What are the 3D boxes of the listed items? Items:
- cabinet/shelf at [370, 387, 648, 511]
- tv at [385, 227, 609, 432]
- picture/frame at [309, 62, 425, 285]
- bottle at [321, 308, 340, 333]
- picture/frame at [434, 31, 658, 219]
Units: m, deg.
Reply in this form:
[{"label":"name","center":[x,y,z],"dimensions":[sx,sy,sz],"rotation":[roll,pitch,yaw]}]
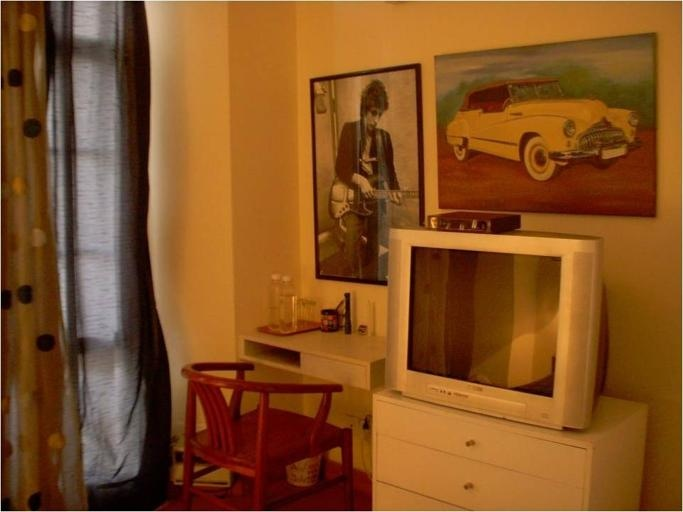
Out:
[{"label":"cabinet/shelf","center":[0.715,0.781,2.467],"dimensions":[0.578,0.403,0.357],"rotation":[3,2,42]},{"label":"tv","center":[0.676,0.295,2.705],"dimensions":[0.898,0.783,0.496],"rotation":[5,4,32]},{"label":"picture/frame","center":[0.125,-0.436,3.434],"dimensions":[0.768,1.177,0.097],"rotation":[6,11,39]},{"label":"bottle","center":[-0.067,0.369,3.500],"dimensions":[0.113,0.126,0.109],"rotation":[-1,0,34]},{"label":"picture/frame","center":[0.958,-0.600,2.765],"dimensions":[0.900,0.666,0.014],"rotation":[4,8,37]}]
